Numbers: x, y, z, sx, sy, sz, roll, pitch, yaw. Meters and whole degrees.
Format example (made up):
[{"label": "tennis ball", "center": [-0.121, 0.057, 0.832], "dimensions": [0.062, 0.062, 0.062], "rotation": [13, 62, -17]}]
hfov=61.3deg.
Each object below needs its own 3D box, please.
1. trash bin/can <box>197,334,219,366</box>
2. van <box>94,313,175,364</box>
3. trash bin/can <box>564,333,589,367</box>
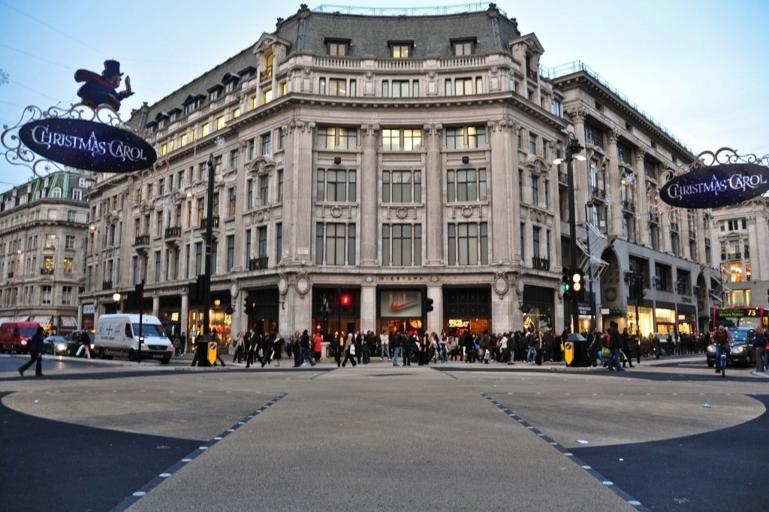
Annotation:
[{"label": "trash bin/can", "center": [-8.628, 4.551, 31.264], "dimensions": [0.715, 1.555, 1.612], "rotation": [-3, -11, 6]}, {"label": "van", "center": [-14.582, 4.704, 37.474], "dimensions": [6.344, 2.779, 2.329], "rotation": [-7, -12, 43]}, {"label": "trash bin/can", "center": [9.070, 4.392, 30.462], "dimensions": [1.041, 1.579, 0.840], "rotation": [-3, -10, 7]}]
